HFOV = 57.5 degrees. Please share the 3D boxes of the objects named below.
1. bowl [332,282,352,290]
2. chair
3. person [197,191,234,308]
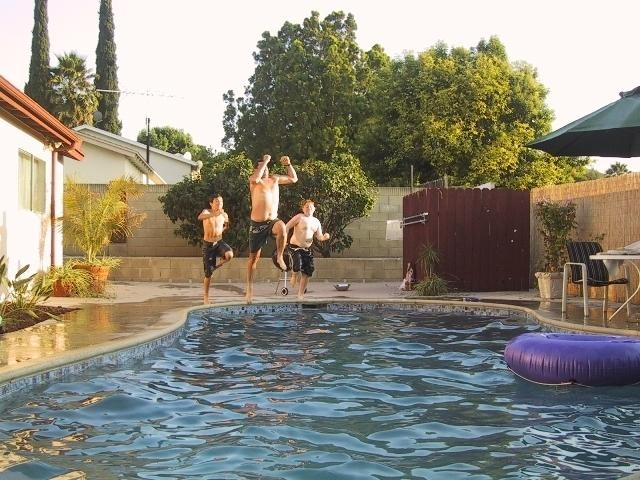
[{"bbox_3d":[0.462,0.995,12.244,0.269,0.152,0.635,0,-6,0],"label":"bowl"},{"bbox_3d":[3.788,0.519,8.004,0.773,1.002,0.738,1,-1,1],"label":"chair"},{"bbox_3d":[-1.727,0.151,9.612,0.509,1.795,1.356,1,-6,-10],"label":"person"}]
